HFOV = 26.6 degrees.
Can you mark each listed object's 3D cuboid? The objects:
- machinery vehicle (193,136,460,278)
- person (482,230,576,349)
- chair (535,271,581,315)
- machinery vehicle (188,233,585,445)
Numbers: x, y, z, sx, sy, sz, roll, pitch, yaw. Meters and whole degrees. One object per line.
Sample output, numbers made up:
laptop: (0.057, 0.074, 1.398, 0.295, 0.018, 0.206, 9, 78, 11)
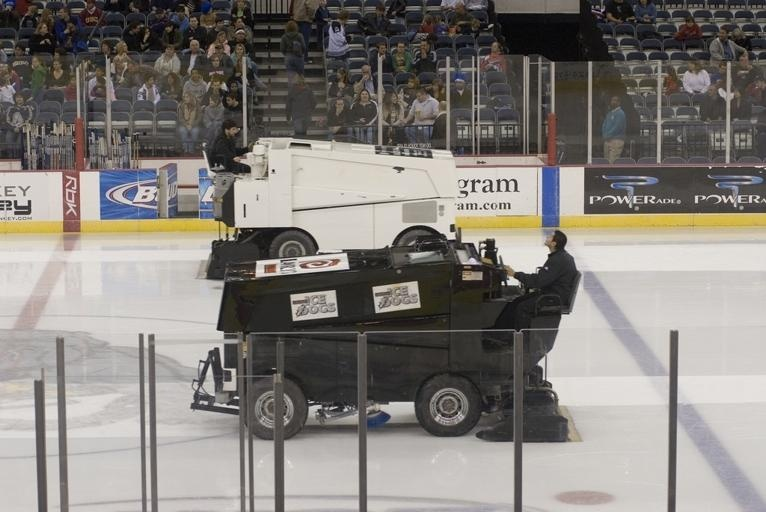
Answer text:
machinery vehicle: (-0.628, -0.789, 28.976, 4.883, 2.331, 1.660, -2, 0, 20)
person: (2.129, 0.493, 22.834, 1.096, 1.549, 0.784, 6, 14, 14)
chair: (2.447, 0.557, 22.845, 0.627, 0.777, 0.603, 4, 4, 8)
machinery vehicle: (-0.082, 1.233, 21.704, 4.967, 2.280, 1.624, -2, 1, -2)
